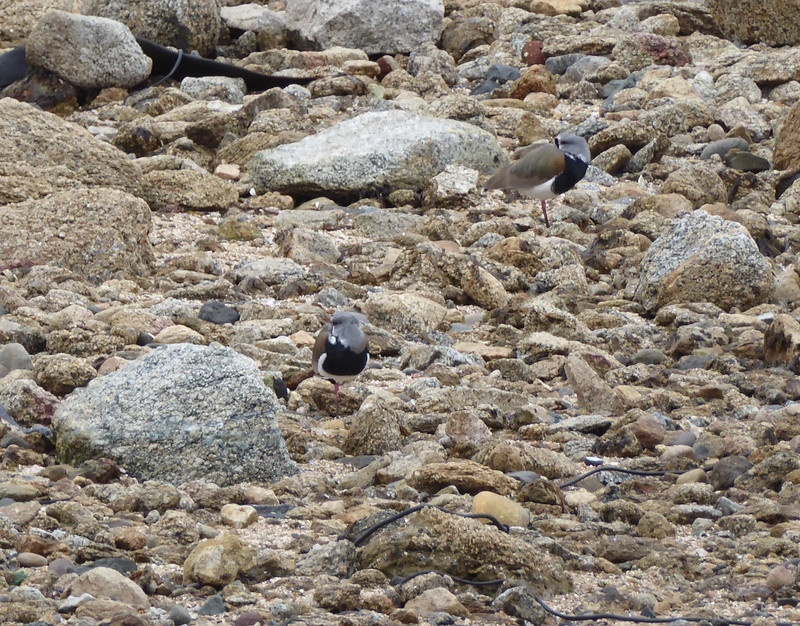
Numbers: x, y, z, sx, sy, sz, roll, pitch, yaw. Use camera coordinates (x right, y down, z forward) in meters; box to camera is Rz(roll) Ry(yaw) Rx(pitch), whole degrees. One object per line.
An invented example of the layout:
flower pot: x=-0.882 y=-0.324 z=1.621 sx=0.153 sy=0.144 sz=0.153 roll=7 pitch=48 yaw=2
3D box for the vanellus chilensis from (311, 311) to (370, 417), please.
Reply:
vanellus chilensis: x=-0.467 y=0.414 z=14.473 sx=0.422 sy=0.881 sz=0.542 roll=-9 pitch=62 yaw=-4

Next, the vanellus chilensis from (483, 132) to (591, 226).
vanellus chilensis: x=1.297 y=-1.277 z=17.435 sx=1.094 sy=0.889 sz=0.498 roll=7 pitch=20 yaw=32
